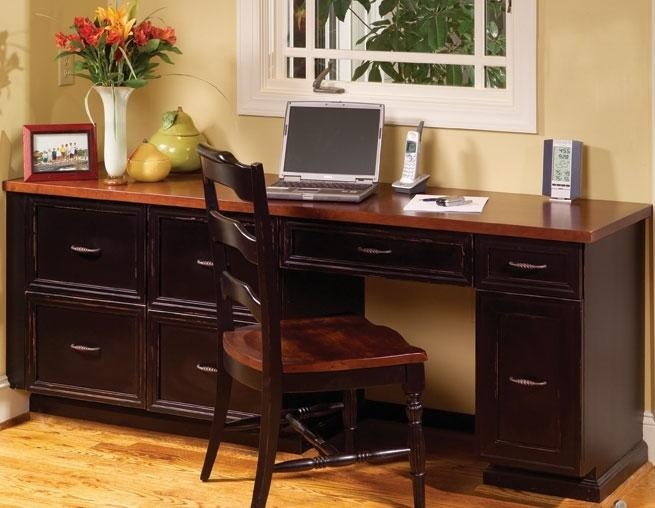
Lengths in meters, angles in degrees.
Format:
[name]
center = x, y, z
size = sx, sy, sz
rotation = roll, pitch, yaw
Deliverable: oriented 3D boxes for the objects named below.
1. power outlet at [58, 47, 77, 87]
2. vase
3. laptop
[power outlet]
center = -1.093, -0.771, 2.546
size = 0.102, 0.133, 0.012
rotation = 3, 1, 29
[vase]
center = -0.822, -0.465, 2.353
size = 0.129, 0.350, 0.112
rotation = 0, 9, 0
[laptop]
center = -0.010, -0.379, 2.187
size = 0.458, 0.344, 0.395
rotation = 4, 18, 16
